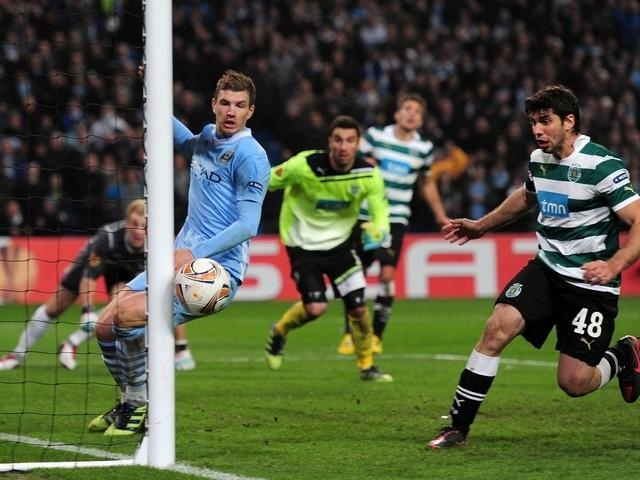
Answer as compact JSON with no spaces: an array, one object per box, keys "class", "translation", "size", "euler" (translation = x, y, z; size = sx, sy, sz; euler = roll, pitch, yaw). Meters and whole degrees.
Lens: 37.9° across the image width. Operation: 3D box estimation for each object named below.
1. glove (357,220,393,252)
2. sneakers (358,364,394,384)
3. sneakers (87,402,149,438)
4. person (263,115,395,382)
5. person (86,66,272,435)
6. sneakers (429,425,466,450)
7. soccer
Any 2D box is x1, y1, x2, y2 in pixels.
[{"class":"glove","translation":[0.505,-0.034,8.564],"size":[0.243,0.244,0.393],"euler":[1,4,0]},{"class":"sneakers","translation":[0.529,1.302,8.949],"size":[0.369,0.136,0.123],"euler":[0,-1,4]},{"class":"sneakers","translation":[-1.555,1.396,7.323],"size":[0.565,0.193,0.292],"euler":[2,-5,0]},{"class":"person","translation":[0.089,0.095,8.867],"size":[1.235,2.510,0.727],"euler":[1,4,3]},{"class":"person","translation":[-1.053,0.086,7.206],"size":[1.309,2.860,1.066],"euler":[0,4,-7]},{"class":"sneakers","translation":[0.974,1.494,7.015],"size":[0.273,0.101,0.128],"euler":[0,-8,-21]},{"class":"soccer","translation":[-0.846,0.318,6.833],"size":[0.477,0.391,0.412],"euler":[2,8,-9]}]
